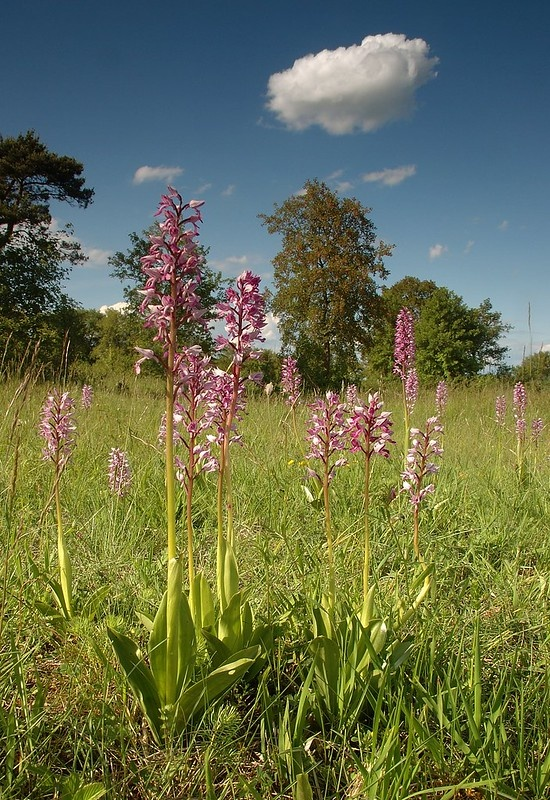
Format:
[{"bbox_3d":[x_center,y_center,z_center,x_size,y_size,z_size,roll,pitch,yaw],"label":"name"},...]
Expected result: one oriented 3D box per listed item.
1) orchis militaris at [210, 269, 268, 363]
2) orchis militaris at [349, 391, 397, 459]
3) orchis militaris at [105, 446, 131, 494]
[{"bbox_3d":[-0.123,-0.292,2.148,0.169,0.340,0.403,3,0,-4],"label":"orchis militaris"},{"bbox_3d":[0.350,0.104,2.225,0.157,0.238,0.345,3,0,7],"label":"orchis militaris"},{"bbox_3d":[-1.062,0.498,4.035,0.142,0.337,0.424,3,0,-15],"label":"orchis militaris"}]
